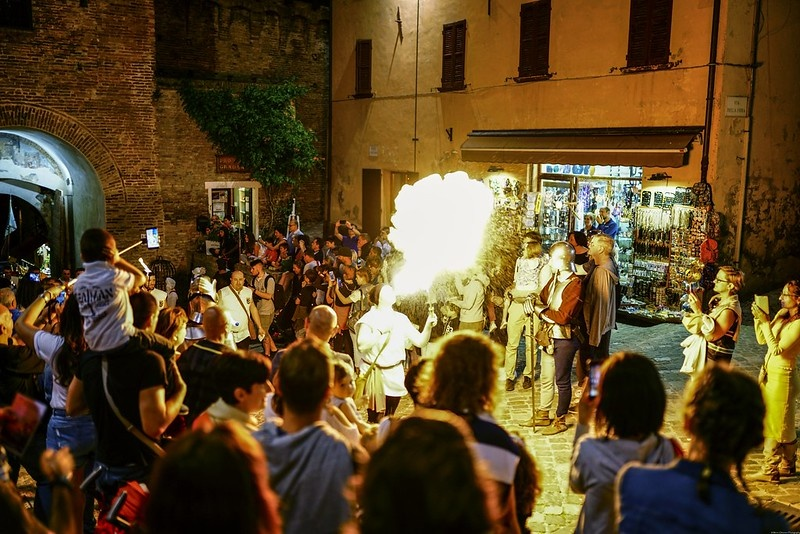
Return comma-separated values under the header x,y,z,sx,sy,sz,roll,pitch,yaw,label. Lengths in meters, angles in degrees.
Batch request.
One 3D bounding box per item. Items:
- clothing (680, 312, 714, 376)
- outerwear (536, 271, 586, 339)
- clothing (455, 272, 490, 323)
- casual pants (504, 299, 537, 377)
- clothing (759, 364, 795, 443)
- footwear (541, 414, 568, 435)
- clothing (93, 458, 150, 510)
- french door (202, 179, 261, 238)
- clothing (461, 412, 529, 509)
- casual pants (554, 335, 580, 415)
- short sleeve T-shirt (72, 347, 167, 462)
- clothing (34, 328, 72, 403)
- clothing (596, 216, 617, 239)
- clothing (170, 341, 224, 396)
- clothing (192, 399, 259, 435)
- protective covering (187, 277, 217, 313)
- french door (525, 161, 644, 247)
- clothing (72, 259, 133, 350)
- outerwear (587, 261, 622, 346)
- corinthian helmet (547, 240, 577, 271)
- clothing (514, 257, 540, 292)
x,y,z,sx,sy,sz,roll,pitch,yaw,label
3.856,1.012,7.486,0.285,0.662,0.465,16,-2,32,clothing
2.220,0.545,8.102,0.624,1.054,0.882,2,3,-10,outerwear
1.183,0.476,9.760,0.483,0.749,0.661,15,18,31,clothing
1.937,1.117,10.003,0.366,1.625,0.456,7,39,23,casual pants
4.395,1.608,6.882,0.386,0.995,0.299,4,1,31,clothing
2.158,2.183,8.263,0.451,0.296,0.184,-3,5,-8,footwear
-2.400,1.888,5.090,0.488,0.446,0.121,4,1,3,clothing
-5.878,-2.038,20.537,1.352,2.218,1.696,-7,19,-19,french door
0.619,1.245,3.874,0.410,0.264,0.512,8,1,-3,clothing
2.264,1.519,8.158,0.298,1.035,0.355,4,1,22,casual pants
-2.495,1.279,5.082,0.904,0.858,0.462,0,-15,14,short sleeve T-shirt
-3.304,0.967,5.569,0.530,0.708,0.155,5,2,39,clothing
4.402,-0.864,12.637,0.386,0.532,0.665,-5,10,30,clothing
-1.970,1.039,5.791,0.450,0.472,0.362,3,1,-16,clothing
-1.346,1.104,4.554,0.453,0.179,0.384,0,4,-35,clothing
-2.780,0.309,8.261,0.363,0.406,0.435,3,-4,-18,protective covering
4.465,-1.551,14.015,0.791,2.056,2.218,-1,7,-44,french door
-2.477,0.304,5.032,0.572,0.728,0.392,-10,1,13,clothing
2.867,0.507,8.355,0.513,1.197,0.273,3,1,-23,outerwear
2.261,-0.160,8.245,0.389,0.392,0.313,2,7,19,corinthian helmet
2.058,0.110,9.611,0.382,0.515,0.169,3,-8,39,clothing
